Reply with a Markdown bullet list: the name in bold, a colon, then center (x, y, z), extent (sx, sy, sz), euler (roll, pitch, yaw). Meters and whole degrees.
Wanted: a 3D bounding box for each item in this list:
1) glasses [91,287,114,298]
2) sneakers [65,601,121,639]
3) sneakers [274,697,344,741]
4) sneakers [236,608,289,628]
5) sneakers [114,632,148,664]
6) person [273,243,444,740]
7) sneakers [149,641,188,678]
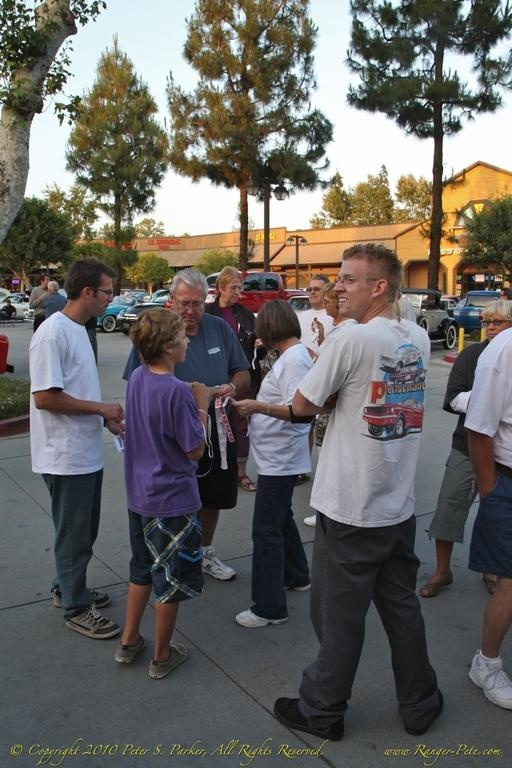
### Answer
- **glasses**: center (-0.728, -0.432, 3.022), extent (0.066, 0.022, 0.064), euler (-3, 2, 21)
- **sneakers**: center (-0.769, 1.139, 3.047), extent (0.277, 0.128, 0.116), euler (6, 6, 17)
- **sneakers**: center (0.193, 1.210, 2.317), extent (0.238, 0.096, 0.098), euler (8, 3, 42)
- **sneakers**: center (0.036, 1.164, 3.169), extent (0.248, 0.114, 0.093), euler (3, 1, -3)
- **sneakers**: center (-0.550, 1.170, 2.807), extent (0.065, 0.071, 0.158), euler (1, 4, 8)
- **person**: center (0.380, 0.381, 2.252), extent (0.614, 1.746, 0.307), euler (1, 6, 2)
- **sneakers**: center (-0.381, 1.170, 2.702), extent (0.074, 0.071, 0.166), euler (1, 11, 18)
